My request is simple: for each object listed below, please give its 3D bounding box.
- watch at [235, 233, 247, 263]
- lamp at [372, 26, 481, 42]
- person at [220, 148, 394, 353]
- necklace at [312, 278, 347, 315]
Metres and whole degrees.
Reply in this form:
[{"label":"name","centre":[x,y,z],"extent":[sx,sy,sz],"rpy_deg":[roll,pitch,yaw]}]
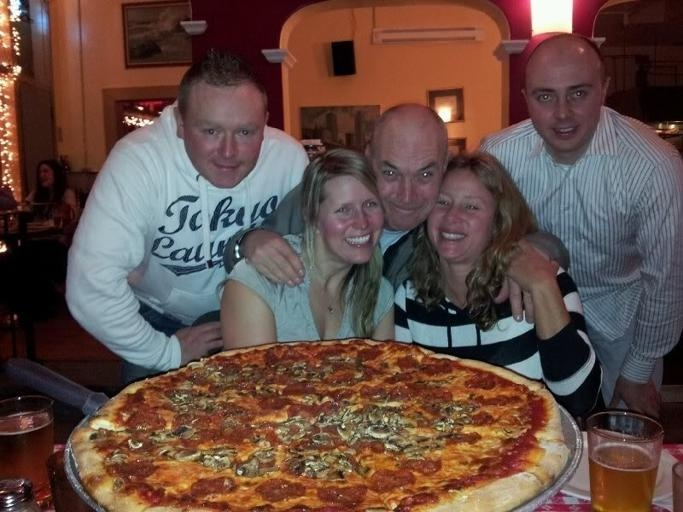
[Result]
[{"label":"watch","centre":[-0.510,-0.032,3.136],"extent":[0.085,0.126,0.103],"rpy_deg":[2,-1,-14]},{"label":"lamp","centre":[1.179,-3.074,8.798],"extent":[1.489,0.203,0.442],"rpy_deg":[-1,13,6]},{"label":"person","centre":[-0.161,-0.014,3.051],"extent":[0.853,0.954,0.293],"rpy_deg":[-7,14,-18]},{"label":"necklace","centre":[-0.033,0.200,3.102],"extent":[0.157,0.179,0.053],"rpy_deg":[1,-3,-24]}]
